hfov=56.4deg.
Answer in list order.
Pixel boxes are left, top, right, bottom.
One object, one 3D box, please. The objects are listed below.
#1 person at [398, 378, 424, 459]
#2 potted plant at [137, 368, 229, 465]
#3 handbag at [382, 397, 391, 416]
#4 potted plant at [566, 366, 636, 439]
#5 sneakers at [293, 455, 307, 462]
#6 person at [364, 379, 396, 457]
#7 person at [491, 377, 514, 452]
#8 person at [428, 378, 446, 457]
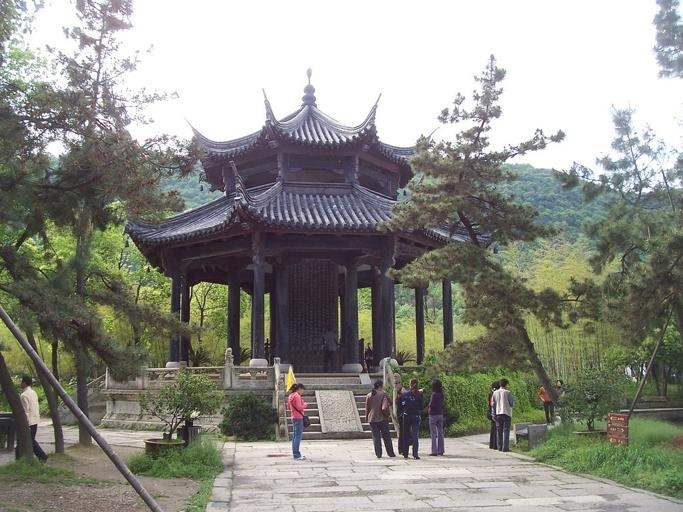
[{"bbox_3d":[1.636,3.893,15.183,0.530,1.837,0.820,0,-2,-6],"label":"person"},{"bbox_3d":[-3.580,3.409,14.789,2.431,2.653,2.360,3,-7,-4],"label":"potted plant"},{"bbox_3d":[1.019,3.555,15.014,0.125,0.463,0.208,0,-2,18],"label":"handbag"},{"bbox_3d":[6.221,3.637,15.827,1.420,1.582,1.454,-1,-2,28],"label":"potted plant"},{"bbox_3d":[-0.932,4.583,14.341,0.254,0.115,0.090,-2,-13,8],"label":"sneakers"},{"bbox_3d":[0.918,3.878,15.252,0.694,1.821,1.206,0,-2,4],"label":"person"},{"bbox_3d":[4.043,4.026,16.097,0.484,1.837,0.759,0,-2,13],"label":"person"},{"bbox_3d":[2.347,3.975,15.846,0.340,1.802,1.060,0,-2,8],"label":"person"}]
